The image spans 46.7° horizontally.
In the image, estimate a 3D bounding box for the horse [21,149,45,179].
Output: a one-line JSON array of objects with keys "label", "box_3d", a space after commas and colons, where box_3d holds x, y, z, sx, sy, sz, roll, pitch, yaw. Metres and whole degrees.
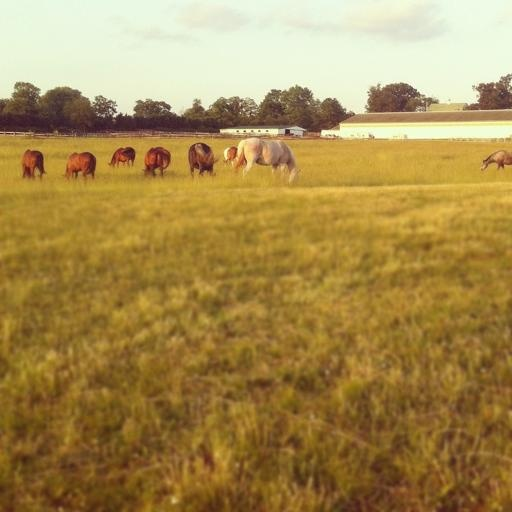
[{"label": "horse", "box_3d": [-5.747, -2.383, 15.340, 0.551, 0.631, 0.495, -6, 19, -23]}]

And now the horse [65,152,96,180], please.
[{"label": "horse", "box_3d": [-4.581, -2.364, 15.444, 0.778, 0.646, 0.470, -2, 18, -14]}]

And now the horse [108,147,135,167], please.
[{"label": "horse", "box_3d": [-3.916, -2.822, 16.908, 1.021, 0.818, 0.353, 2, 4, 36]}]
